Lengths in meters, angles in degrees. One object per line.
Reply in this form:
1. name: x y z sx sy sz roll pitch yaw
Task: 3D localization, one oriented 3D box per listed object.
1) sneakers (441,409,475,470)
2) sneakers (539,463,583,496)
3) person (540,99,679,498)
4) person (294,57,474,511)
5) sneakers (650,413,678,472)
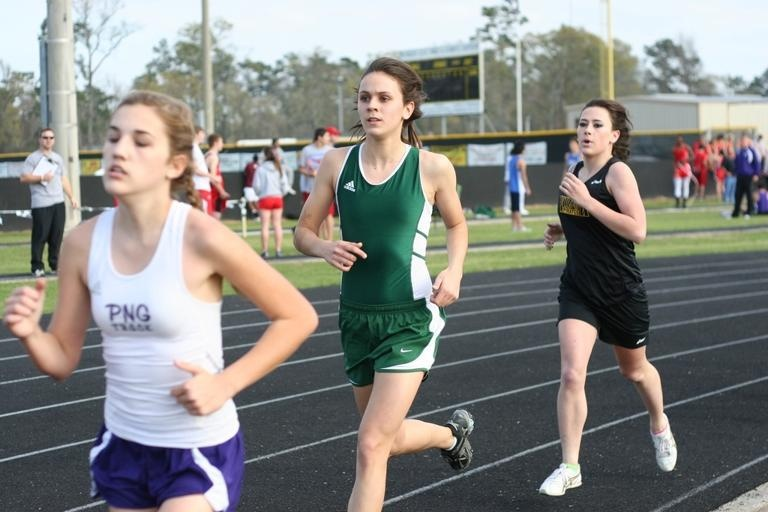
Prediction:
1. sneakers: 0.467 1.160 4.324 0.139 0.183 0.403 -5 40 21
2. sneakers: 1.089 1.370 4.229 0.321 0.157 0.137 -7 10 -37
3. person: 1.446 0.217 4.426 0.828 2.455 1.208 5 12 38
4. person: 0.057 0.058 3.775 0.903 2.302 0.853 -6 10 -24
5. sneakers: 1.848 1.283 4.565 0.121 0.417 0.154 -12 -21 27
